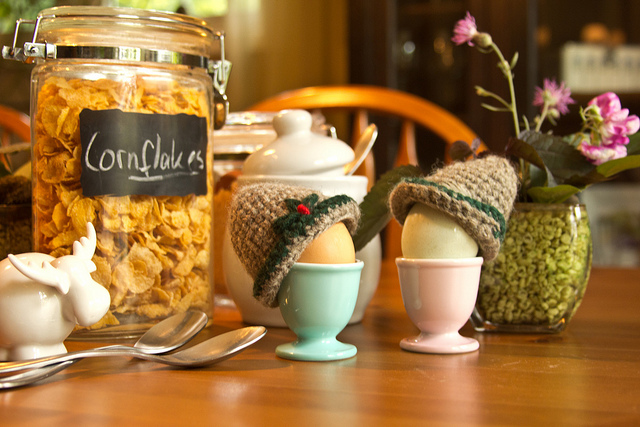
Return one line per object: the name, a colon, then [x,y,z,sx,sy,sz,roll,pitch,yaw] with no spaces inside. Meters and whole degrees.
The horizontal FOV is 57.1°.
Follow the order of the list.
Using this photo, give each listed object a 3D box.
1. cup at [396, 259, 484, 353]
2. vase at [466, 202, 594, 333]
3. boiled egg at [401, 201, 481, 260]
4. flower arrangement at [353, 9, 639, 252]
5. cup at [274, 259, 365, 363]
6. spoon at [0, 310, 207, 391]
cup: [0.120,0.100,0.651,0.091,0.099,0.093,0,-6,0]
vase: [0.220,0.061,0.728,0.181,0.153,0.139,-4,4,-14]
boiled egg: [0.127,0.017,0.603,0.083,0.057,0.038,1,4,2]
flower arrangement: [0.211,-0.092,0.703,0.338,0.280,0.164,1,4,3]
cup: [-0.003,0.099,0.614,0.094,0.094,0.099,2,-3,0]
spoon: [-0.185,0.108,0.608,0.051,0.034,0.255,-1,8,43]
